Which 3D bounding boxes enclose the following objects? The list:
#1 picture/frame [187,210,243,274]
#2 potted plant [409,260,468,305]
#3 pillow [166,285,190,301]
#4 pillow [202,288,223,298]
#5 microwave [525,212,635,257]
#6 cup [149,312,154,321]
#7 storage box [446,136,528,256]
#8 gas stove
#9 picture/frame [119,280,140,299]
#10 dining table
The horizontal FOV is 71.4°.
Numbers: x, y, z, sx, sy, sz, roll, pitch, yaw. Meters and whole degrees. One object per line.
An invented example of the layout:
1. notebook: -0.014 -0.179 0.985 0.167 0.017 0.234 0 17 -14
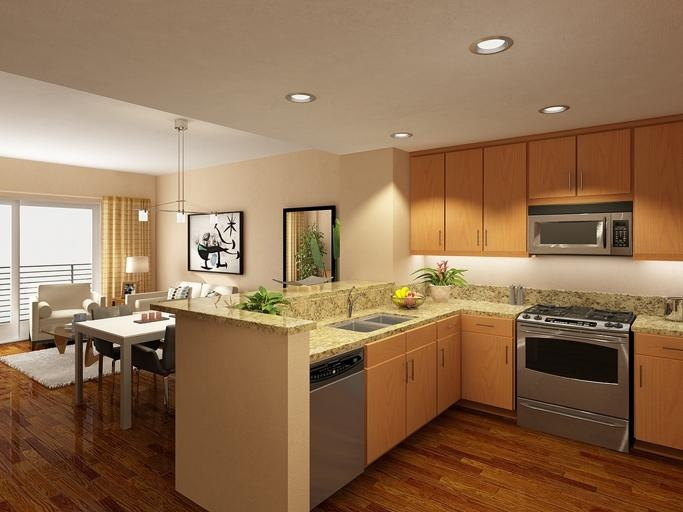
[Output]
1. picture/frame: -1.957 -0.227 7.613 1.101 0.817 0.048 2 4 40
2. potted plant: 1.100 0.281 5.055 0.489 0.307 0.467 2 -3 -17
3. pillow: -2.481 0.577 7.393 0.317 0.232 0.573 -4 9 -27
4. pillow: -1.697 0.487 6.350 0.291 0.109 0.283 3 3 5
5. microwave: 2.140 -0.190 4.285 0.635 0.303 0.406 0 -2 40
6. cup: -2.009 0.648 5.090 0.069 0.072 0.067 1 -2 0
7. storage box: 1.581 -0.544 4.615 0.465 1.075 0.200 4 10 22
8. gas stove: 2.163 1.080 4.506 1.228 1.499 1.068 0 -1 36
9. picture/frame: -3.522 0.558 7.944 0.173 0.293 0.322 0 -1 32
10. dining table: -2.109 1.127 4.686 0.661 0.738 1.246 0 -2 34
